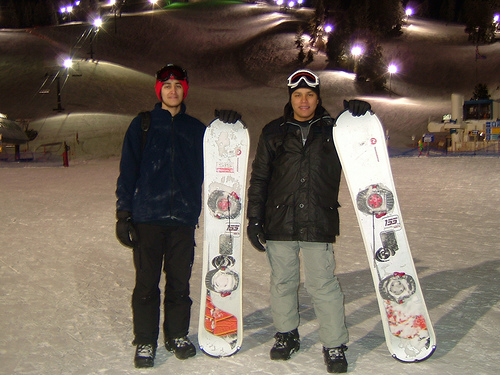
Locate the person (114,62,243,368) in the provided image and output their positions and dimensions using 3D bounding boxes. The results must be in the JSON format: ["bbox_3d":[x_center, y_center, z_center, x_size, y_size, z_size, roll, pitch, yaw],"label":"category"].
[{"bbox_3d":[-0.653,0.165,3.108,0.725,2.267,0.565,-4,7,-30],"label":"person"}]

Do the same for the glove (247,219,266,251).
[{"bbox_3d":[0.051,0.370,3.169,0.127,0.241,0.067,-14,-7,17],"label":"glove"}]

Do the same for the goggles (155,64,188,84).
[{"bbox_3d":[-0.641,-0.898,3.283,0.184,0.065,0.178,-4,-34,-12],"label":"goggles"}]

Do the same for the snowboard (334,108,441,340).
[{"bbox_3d":[1.012,0.319,3.311,0.516,2.278,0.386,-12,-3,2],"label":"snowboard"}]

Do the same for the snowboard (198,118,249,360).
[{"bbox_3d":[-0.220,0.383,3.272,0.405,1.839,0.260,0,-1,-4],"label":"snowboard"}]

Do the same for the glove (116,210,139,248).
[{"bbox_3d":[-0.936,0.310,3.046,0.146,0.261,0.101,-7,-1,-11],"label":"glove"}]
